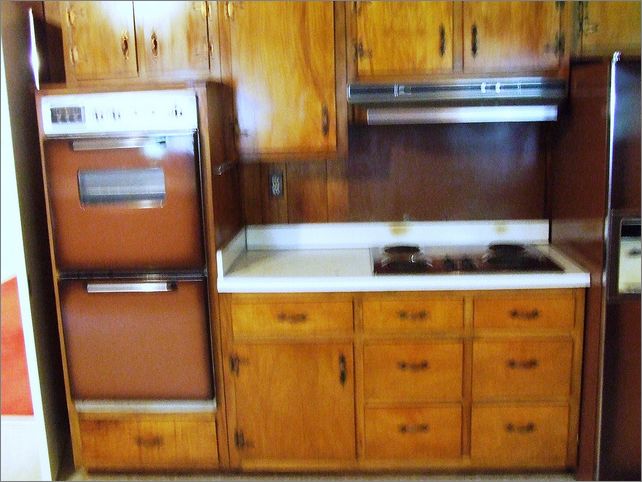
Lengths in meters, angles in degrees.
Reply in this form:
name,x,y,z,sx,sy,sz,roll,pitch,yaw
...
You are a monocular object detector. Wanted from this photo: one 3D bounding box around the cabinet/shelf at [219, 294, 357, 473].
name,x,y,z,sx,sy,sz,roll,pitch,yaw
cabinet/shelf,-0.162,0.673,3.389,0.692,1.197,0.733,0,4,1
